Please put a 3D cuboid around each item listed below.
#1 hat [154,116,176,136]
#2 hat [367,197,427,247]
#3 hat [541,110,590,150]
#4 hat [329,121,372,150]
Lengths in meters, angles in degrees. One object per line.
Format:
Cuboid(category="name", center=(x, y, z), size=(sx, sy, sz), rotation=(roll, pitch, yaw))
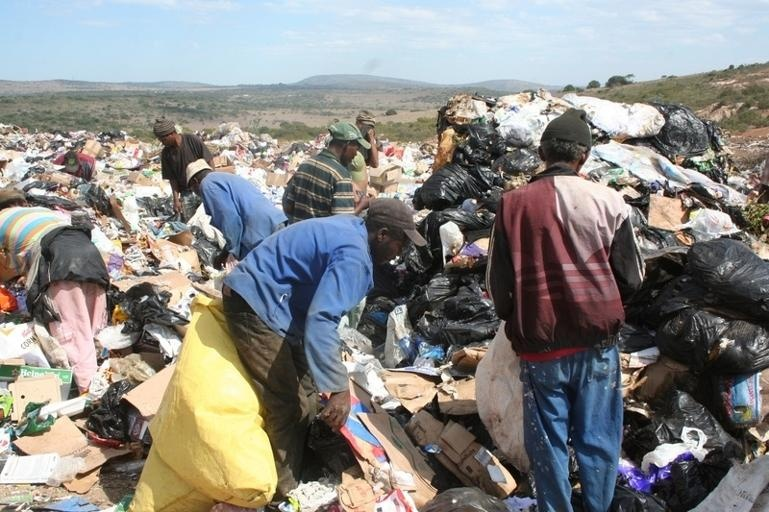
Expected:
Cuboid(category="hat", center=(-2.943, -1.713, 7.326), size=(0.293, 0.250, 0.196), rotation=(7, -22, -6))
Cuboid(category="hat", center=(0.097, -0.266, 3.818), size=(0.443, 0.209, 0.261), rotation=(23, 9, -13))
Cuboid(category="hat", center=(1.232, -0.852, 3.596), size=(0.231, 0.185, 0.319), rotation=(13, 31, 29))
Cuboid(category="hat", center=(-0.346, -1.229, 5.575), size=(0.441, 0.197, 0.264), rotation=(20, 4, -24))
